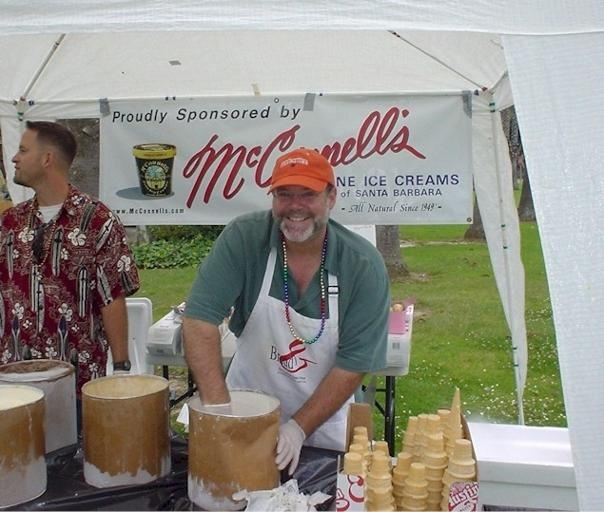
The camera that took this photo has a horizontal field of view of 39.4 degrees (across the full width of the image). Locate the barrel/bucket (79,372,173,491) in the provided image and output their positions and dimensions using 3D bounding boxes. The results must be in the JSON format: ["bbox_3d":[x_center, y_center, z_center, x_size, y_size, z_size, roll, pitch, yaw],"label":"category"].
[{"bbox_3d":[-0.517,0.531,2.706,0.278,0.339,0.301,0,4,0],"label":"barrel/bucket"}]

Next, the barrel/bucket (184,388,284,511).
[{"bbox_3d":[-0.177,0.568,2.592,0.276,0.328,0.289,2,4,0],"label":"barrel/bucket"}]

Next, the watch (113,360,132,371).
[{"bbox_3d":[-0.748,0.456,3.511,0.046,0.031,0.046,2,-1,-5],"label":"watch"}]

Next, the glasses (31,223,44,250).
[{"bbox_3d":[-1.104,-0.079,3.573,0.055,0.113,0.030,-2,-1,4],"label":"glasses"}]

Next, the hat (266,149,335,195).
[{"bbox_3d":[0.000,-0.307,3.082,0.146,0.126,0.208,1,2,13],"label":"hat"}]
